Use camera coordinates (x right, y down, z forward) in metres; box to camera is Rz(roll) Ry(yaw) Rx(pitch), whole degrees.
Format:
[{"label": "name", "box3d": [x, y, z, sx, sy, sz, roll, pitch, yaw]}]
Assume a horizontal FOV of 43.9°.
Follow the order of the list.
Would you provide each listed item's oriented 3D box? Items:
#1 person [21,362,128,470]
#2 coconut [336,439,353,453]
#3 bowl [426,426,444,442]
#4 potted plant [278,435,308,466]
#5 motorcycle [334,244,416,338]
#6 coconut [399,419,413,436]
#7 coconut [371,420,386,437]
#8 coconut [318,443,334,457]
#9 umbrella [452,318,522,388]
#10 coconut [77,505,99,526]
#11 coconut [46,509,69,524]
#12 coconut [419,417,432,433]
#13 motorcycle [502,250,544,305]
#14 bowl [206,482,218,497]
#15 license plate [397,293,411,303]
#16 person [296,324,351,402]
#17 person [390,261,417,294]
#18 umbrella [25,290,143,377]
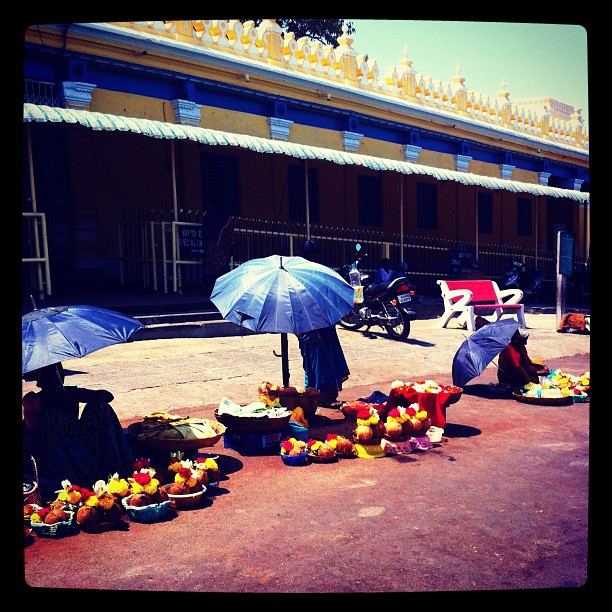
[{"label": "person", "box3d": [-1.854, 0.910, 6.085, 0.430, 0.747, 0.614, -37, -10, 22]}, {"label": "coconut", "box3d": [0.348, 1.245, 6.759, 0.171, 0.119, 0.067, -3, 3, -30]}, {"label": "bowl", "box3d": [1.205, 1.206, 7.152, 0.124, 0.123, 0.260, -1, 2, 20]}, {"label": "potted plant", "box3d": [-0.102, 1.250, 6.581, 0.200, 0.171, 0.188, 0, 1, -40]}, {"label": "motorcycle", "box3d": [1.048, -0.201, 12.741, 0.796, 1.398, 1.810, -16, 17, -35]}, {"label": "coconut", "box3d": [0.911, 1.113, 6.922, 0.112, 0.174, 0.128, 4, -11, -1]}, {"label": "coconut", "box3d": [0.636, 1.099, 6.784, 0.104, 0.162, 0.122, 0, -4, -6]}, {"label": "coconut", "box3d": [0.168, 1.261, 6.618, 0.079, 0.069, 0.108, 3, 6, 7]}, {"label": "umbrella", "box3d": [1.867, 0.445, 8.179, 0.671, 0.285, 0.704, -45, 15, 25]}, {"label": "coconut", "box3d": [-1.514, 1.465, 5.309, 0.109, 0.142, 0.124, 2, 2, 12]}, {"label": "coconut", "box3d": [-1.724, 1.465, 5.264, 0.079, 0.104, 0.089, -6, 6, -4]}, {"label": "coconut", "box3d": [1.107, 1.102, 7.094, 0.105, 0.165, 0.121, 2, 3, -2]}, {"label": "motorcycle", "box3d": [5.428, -0.727, 19.227, 1.780, 1.465, 0.917, -1, -5, -43]}, {"label": "bowl", "box3d": [-0.722, 1.424, 5.886, 0.115, 0.088, 0.059, -4, 3, -40]}, {"label": "license plate", "box3d": [1.576, -0.139, 12.163, 0.299, 0.144, 0.112, -4, 3, -41]}, {"label": "person", "box3d": [0.140, 0.652, 8.104, 0.363, 0.849, 0.703, 0, 3, 42]}, {"label": "person", "box3d": [1.636, -0.495, 13.089, 0.350, 0.478, 0.747, 0, 11, 0]}, {"label": "umbrella", "box3d": [-1.766, 0.204, 5.610, 0.623, 0.391, 0.711, -2, 22, 29]}]
